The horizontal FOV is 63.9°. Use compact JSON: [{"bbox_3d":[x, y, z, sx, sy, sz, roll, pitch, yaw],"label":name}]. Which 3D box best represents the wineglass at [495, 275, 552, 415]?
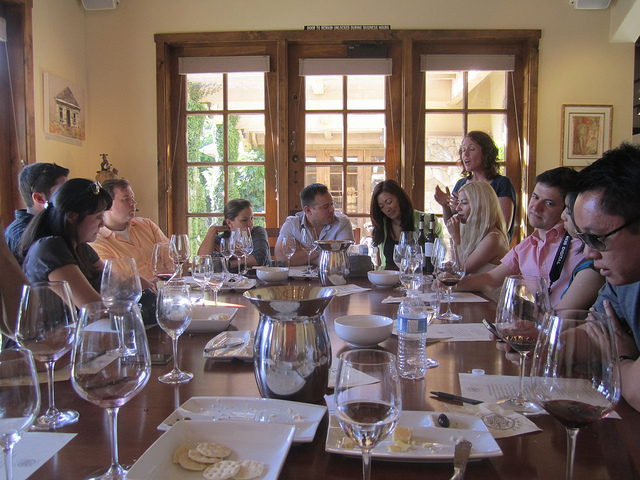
[{"bbox_3d":[0.570,0.294,1.448,0.150,0.362,0.151,5,0,6],"label":"wineglass"}]

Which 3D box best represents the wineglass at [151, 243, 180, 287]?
[{"bbox_3d":[-0.725,0.108,2.418,0.126,0.191,0.216,-4,7,-16],"label":"wineglass"}]

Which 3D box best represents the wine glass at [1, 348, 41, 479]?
[{"bbox_3d":[-0.604,0.343,1.031,0.073,0.244,0.076,-7,8,-36],"label":"wine glass"}]

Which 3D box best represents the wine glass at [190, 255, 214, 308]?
[{"bbox_3d":[-0.485,0.179,2.139,0.100,0.257,0.099,3,16,-4],"label":"wine glass"}]

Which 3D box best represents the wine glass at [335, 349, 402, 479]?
[{"bbox_3d":[0.096,0.330,1.011,0.125,0.217,0.089,-1,7,8],"label":"wine glass"}]

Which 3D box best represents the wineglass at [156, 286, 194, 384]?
[{"bbox_3d":[-0.416,0.267,1.498,0.107,0.289,0.108,-2,7,-42],"label":"wineglass"}]

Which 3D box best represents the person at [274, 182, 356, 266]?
[{"bbox_3d":[-0.035,0.043,3.913,0.589,0.889,0.485,0,6,3],"label":"person"}]

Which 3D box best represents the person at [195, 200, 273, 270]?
[{"bbox_3d":[-0.624,0.097,3.770,0.470,0.794,0.490,1,3,3],"label":"person"}]

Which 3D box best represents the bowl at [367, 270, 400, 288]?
[{"bbox_3d":[0.327,0.199,2.607,0.144,0.069,0.114,-5,7,-27],"label":"bowl"}]

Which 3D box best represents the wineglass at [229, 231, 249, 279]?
[{"bbox_3d":[-0.449,0.078,2.887,0.109,0.249,0.328,-3,6,-7],"label":"wineglass"}]

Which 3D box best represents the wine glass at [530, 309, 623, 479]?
[{"bbox_3d":[0.533,0.316,1.074,0.146,0.322,0.115,-4,7,-19],"label":"wine glass"}]

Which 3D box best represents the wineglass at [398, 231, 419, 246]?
[{"bbox_3d":[0.473,-0.008,2.695,0.073,0.075,0.076,1,-5,2],"label":"wineglass"}]
